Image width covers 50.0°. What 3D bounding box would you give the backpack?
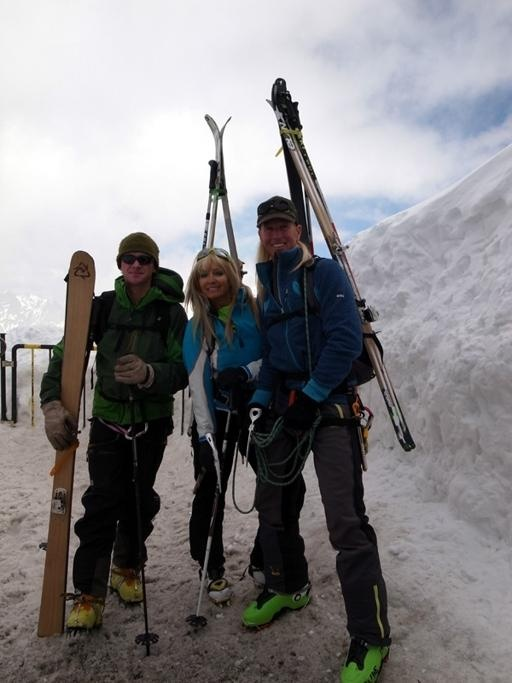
[{"bbox_3d":[0.403,-0.081,2.706,0.204,0.789,0.138,-14,-14,22],"label":"backpack"}]

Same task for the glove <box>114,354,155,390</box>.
[{"bbox_3d":[-0.611,0.154,2.897,0.184,0.163,0.303,-11,-1,0],"label":"glove"}]

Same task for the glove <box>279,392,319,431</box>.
[{"bbox_3d":[0.214,0.336,2.618,0.122,0.175,0.097,29,-16,0],"label":"glove"}]

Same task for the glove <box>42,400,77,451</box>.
[{"bbox_3d":[-1.084,0.468,3.045,0.171,0.272,0.224,-5,5,-22],"label":"glove"}]

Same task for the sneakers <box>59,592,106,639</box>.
[{"bbox_3d":[-0.891,1.381,2.788,0.132,0.147,0.281,-2,-34,-9],"label":"sneakers"}]

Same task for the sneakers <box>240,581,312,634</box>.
[{"bbox_3d":[0.108,1.414,2.990,0.414,0.184,0.147,-7,-13,-32],"label":"sneakers"}]

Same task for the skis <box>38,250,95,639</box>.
[{"bbox_3d":[-1.205,0.801,3.513,0.197,2.153,0.162,3,-11,-5],"label":"skis"}]

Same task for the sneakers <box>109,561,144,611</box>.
[{"bbox_3d":[-0.754,1.427,3.206,0.127,0.146,0.319,7,-10,-36],"label":"sneakers"}]
